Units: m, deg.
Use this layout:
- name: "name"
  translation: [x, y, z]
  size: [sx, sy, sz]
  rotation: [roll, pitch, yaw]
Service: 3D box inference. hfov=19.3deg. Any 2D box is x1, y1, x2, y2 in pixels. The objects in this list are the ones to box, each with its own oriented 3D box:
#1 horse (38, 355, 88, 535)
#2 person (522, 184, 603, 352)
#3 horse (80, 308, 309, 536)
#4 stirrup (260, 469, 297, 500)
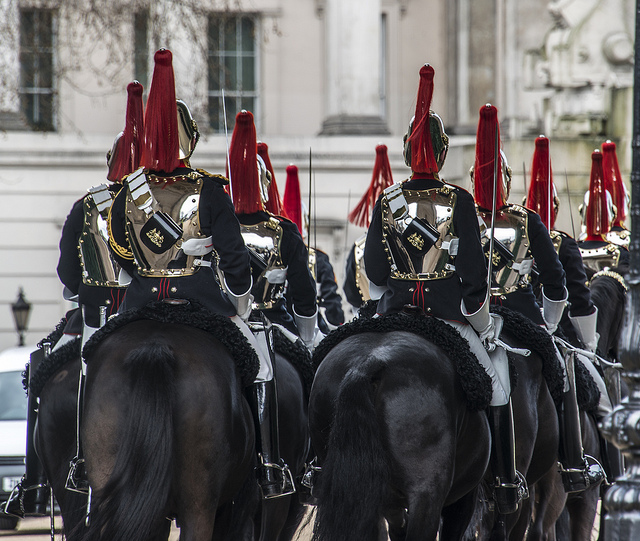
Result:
- name: "horse"
  translation: [-1.800, 1.203, 12.907]
  size: [0.677, 0.952, 0.289]
  rotation: [2, 0, 18]
- name: "person"
  translation: [1.825, -0.147, 14.541]
  size: [0.517, 1.563, 0.495]
  rotation: [-11, -3, 32]
- name: "horse"
  translation: [-0.857, 1.018, 12.269]
  size: [0.669, 1.536, 1.495]
  rotation: [-1, -2, 44]
- name: "stirrup"
  translation: [-0.220, 1.498, 13.196]
  size: [0.203, 0.199, 0.054]
  rotation: [-9, 5, 12]
